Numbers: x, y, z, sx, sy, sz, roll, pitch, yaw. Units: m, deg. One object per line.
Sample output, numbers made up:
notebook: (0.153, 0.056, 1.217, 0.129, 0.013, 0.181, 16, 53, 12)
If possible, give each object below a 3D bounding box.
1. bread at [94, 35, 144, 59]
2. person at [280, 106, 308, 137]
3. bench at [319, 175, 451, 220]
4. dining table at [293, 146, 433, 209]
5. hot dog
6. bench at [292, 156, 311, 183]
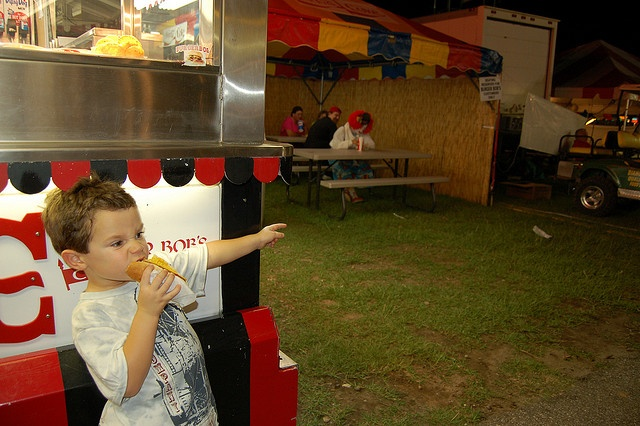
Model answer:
bread: (-0.940, -0.787, 2.180, 0.196, 0.066, 0.150, -4, 51, -29)
person: (-0.610, -2.214, 11.249, 0.626, 0.699, 0.600, 6, 6, -15)
bench: (1.093, -0.369, 8.249, 0.891, 0.725, 2.433, -33, 28, -29)
dining table: (0.880, -0.701, 8.106, 1.825, 0.947, 3.096, 6, 14, 21)
hot dog: (-0.622, 0.281, 1.851, 0.252, 0.093, 0.162, 43, 14, 4)
bench: (-0.372, -0.858, 9.125, 0.391, 0.220, 0.942, -3, 13, -9)
